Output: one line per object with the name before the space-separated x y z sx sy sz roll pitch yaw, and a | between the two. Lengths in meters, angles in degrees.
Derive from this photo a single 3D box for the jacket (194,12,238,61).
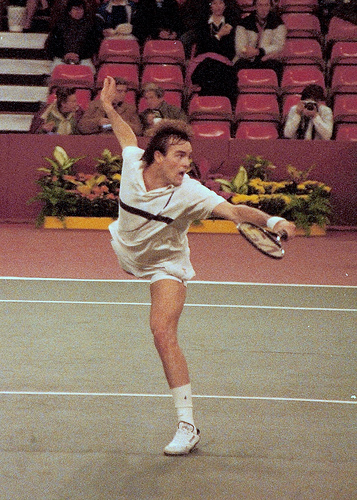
jacket | 0.845 -4.778 13.732 1.055 1.072 0.412 2 -9 2

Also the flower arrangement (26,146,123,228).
flower arrangement | -1.881 -1.157 11.130 1.636 1.497 1.128 1 10 -5

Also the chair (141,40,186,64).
chair | -0.361 -4.706 14.264 0.835 0.340 0.910 -1 10 -2

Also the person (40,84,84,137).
person | -2.233 -2.656 11.623 0.768 0.854 0.727 0 10 -11

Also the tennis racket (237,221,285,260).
tennis racket | 0.342 -0.042 2.532 0.194 0.139 0.414 3 8 5

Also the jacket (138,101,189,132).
jacket | -0.333 -2.593 11.339 0.852 0.624 0.266 -26 23 44

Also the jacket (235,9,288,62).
jacket | 1.816 -4.803 13.651 1.220 1.139 0.338 0 24 -2

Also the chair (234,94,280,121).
chair | 1.641 -2.975 12.586 0.864 0.306 0.730 3 23 1

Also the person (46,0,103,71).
person | -2.415 -4.988 14.060 1.221 1.625 1.120 0 11 -9

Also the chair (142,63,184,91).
chair | -0.329 -3.950 13.651 1.284 0.604 1.113 0 6 -1

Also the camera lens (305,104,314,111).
camera lens | 2.397 -2.611 11.026 0.151 0.113 0.122 3 10 8
